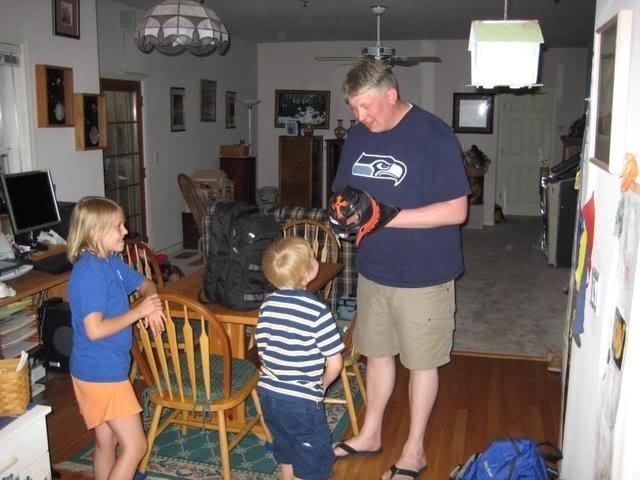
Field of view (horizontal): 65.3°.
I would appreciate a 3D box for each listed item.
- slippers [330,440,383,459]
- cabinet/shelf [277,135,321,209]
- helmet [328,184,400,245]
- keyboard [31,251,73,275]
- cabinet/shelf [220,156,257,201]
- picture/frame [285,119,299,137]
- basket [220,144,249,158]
[{"bbox_3d":[0.182,1.098,2.636,0.216,0.053,0.087,1,2,-5],"label":"slippers"},{"bbox_3d":[-0.308,-1.181,8.800,0.827,1.324,0.872,-3,10,-12],"label":"cabinet/shelf"},{"bbox_3d":[0.195,-0.115,2.163,0.281,0.206,0.145,-5,-8,7],"label":"helmet"},{"bbox_3d":[-1.759,0.165,3.281,0.224,0.046,0.230,-3,17,-20],"label":"keyboard"},{"bbox_3d":[-1.392,-1.014,8.243,0.368,0.933,0.970,0,13,8],"label":"cabinet/shelf"},{"bbox_3d":[-0.505,-1.983,8.973,0.237,0.241,0.282,-2,10,-4],"label":"picture/frame"},{"bbox_3d":[-1.442,-1.492,8.400,0.291,0.126,0.296,3,15,9],"label":"basket"}]
